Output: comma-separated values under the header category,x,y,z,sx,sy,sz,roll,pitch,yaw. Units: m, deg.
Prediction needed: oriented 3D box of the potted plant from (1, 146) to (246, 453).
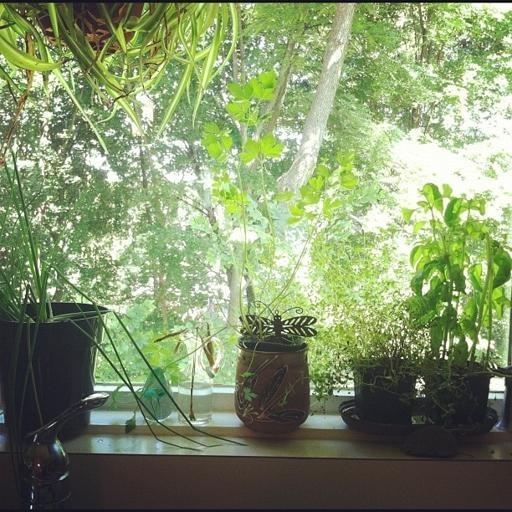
category,x,y,z,sx,sy,sz,roll,pitch,yaw
potted plant,-0.368,0.147,1.172,0.533,0.530,0.468,-21,-13,25
